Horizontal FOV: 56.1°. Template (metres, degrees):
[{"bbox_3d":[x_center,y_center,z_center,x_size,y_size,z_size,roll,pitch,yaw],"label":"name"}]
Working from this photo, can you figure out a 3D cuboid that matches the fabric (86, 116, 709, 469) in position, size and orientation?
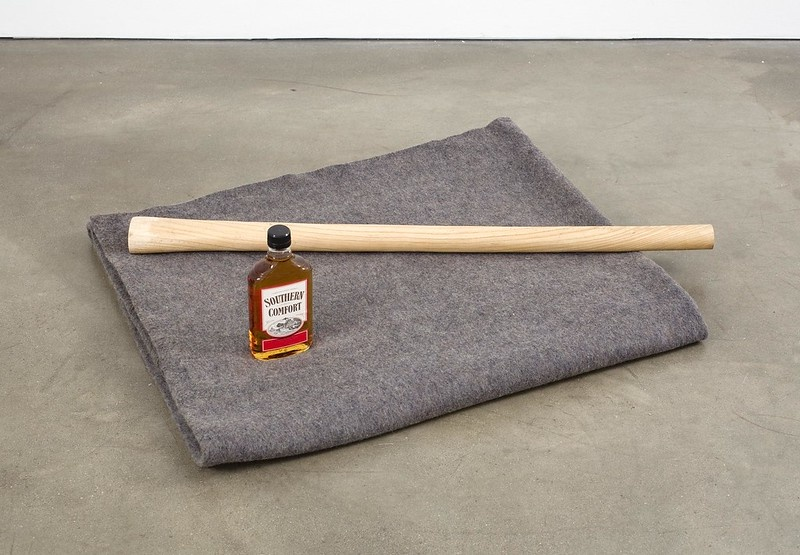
[{"bbox_3d":[-0.006,-0.064,1.251,0.832,0.089,0.958,-18,29,-15],"label":"fabric"}]

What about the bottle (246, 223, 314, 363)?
[{"bbox_3d":[-0.143,0.033,0.904,0.074,0.119,0.091,-1,55,-8],"label":"bottle"}]
